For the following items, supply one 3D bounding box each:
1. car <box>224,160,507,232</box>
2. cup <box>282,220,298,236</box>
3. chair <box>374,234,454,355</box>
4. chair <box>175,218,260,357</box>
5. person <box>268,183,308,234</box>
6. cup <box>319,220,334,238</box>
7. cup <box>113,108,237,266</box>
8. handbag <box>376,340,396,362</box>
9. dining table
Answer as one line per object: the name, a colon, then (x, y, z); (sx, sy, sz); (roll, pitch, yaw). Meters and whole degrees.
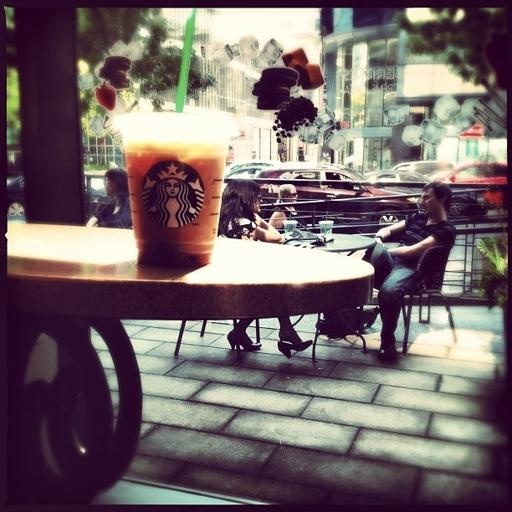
car: (1.539, -0.493, 7.010); (3.481, 1.346, 1.516); (-1, 6, 2)
cup: (0.263, -0.212, 3.871); (0.106, 0.118, 0.107); (0, 4, 0)
chair: (1.190, 0.303, 3.913); (0.588, 0.867, 0.469); (2, 1, 8)
chair: (-0.283, 0.397, 3.994); (0.631, 0.493, 0.648); (4, 7, -4)
person: (0.326, -0.531, 5.520); (0.385, 0.709, 0.716); (0, 12, 7)
cup: (0.580, -0.217, 4.152); (0.137, 0.119, 0.146); (0, -2, 0)
cup: (-0.097, -0.089, 0.728); (0.184, 0.203, 0.177); (0, 1, 0)
handbag: (0.992, 0.705, 3.806); (0.083, 0.189, 0.192); (4, 16, 19)
dining table: (0.599, 0.254, 4.009); (0.897, 0.705, 0.924); (-2, 11, -5)
